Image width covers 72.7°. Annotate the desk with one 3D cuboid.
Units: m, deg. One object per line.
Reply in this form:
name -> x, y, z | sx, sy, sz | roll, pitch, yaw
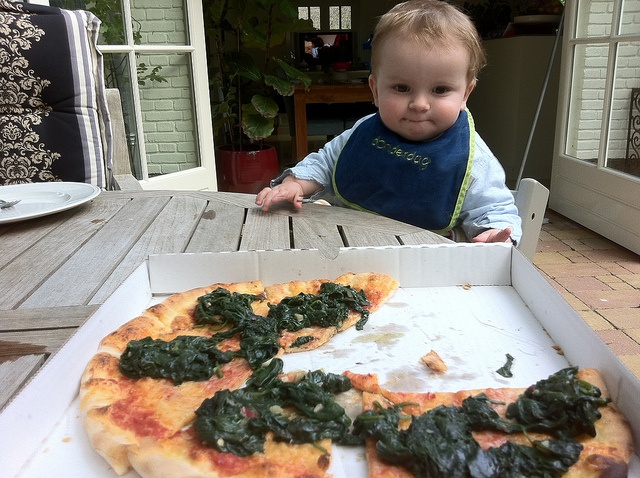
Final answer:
desk -> 0.145, -1.353, 4.972 | 0.901, 0.736, 0.830 | -2, 17, -2
